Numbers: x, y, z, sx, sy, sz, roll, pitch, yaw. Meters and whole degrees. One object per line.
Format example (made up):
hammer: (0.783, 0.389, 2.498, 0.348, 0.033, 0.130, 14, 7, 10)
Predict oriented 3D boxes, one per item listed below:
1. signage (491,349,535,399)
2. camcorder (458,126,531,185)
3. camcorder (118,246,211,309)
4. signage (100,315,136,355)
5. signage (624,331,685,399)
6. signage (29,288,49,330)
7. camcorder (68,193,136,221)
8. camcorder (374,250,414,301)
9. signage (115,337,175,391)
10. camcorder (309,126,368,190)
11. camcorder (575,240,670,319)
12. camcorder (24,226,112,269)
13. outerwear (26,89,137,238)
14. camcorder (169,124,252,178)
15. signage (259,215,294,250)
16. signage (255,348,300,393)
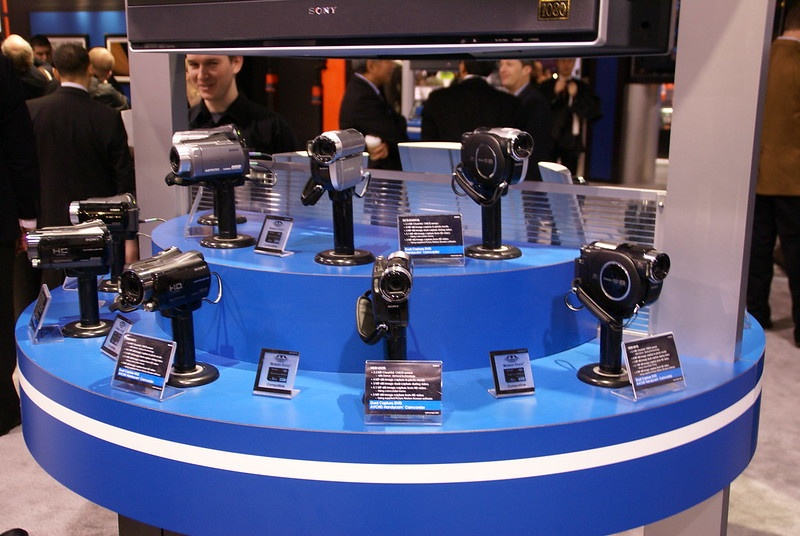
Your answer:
signage: (0.344, 0.327, 2.061, 0.124, 0.124, 0.080, -6, 10, -9)
camcorder: (0.338, -0.386, 2.254, 0.168, 0.176, 0.230, -14, 20, -42)
camcorder: (-0.722, 0.010, 2.106, 0.169, 0.168, 0.236, 3, 12, 42)
signage: (-0.971, 0.233, 2.302, 0.100, 0.139, 0.014, 24, -3, 39)
signage: (0.779, 0.291, 2.077, 0.177, 0.152, 0.061, -10, 5, -12)
signage: (-1.416, 0.160, 2.624, 0.011, 0.146, 0.112, 16, 16, -27)
camcorder: (-1.169, -0.251, 2.638, 0.213, 0.085, 0.125, -6, 16, -1)
camcorder: (-0.026, 0.019, 2.015, 0.112, 0.122, 0.169, -2, 16, -3)
signage: (-0.807, 0.296, 2.078, 0.022, 0.177, 0.232, 4, -14, 23)
camcorder: (-0.189, -0.355, 2.208, 0.146, 0.220, 0.220, 3, 17, 24)
camcorder: (0.719, -0.002, 2.143, 0.250, 0.240, 0.246, 20, 23, 34)
camcorder: (-1.194, -0.087, 2.447, 0.252, 0.176, 0.152, 0, 28, -9)
outerwear: (-1.923, -0.747, 3.916, 0.592, 0.823, 0.291, -2, 56, -29)
camcorder: (-0.684, -0.395, 2.405, 0.233, 0.092, 0.235, -4, 24, -20)
signage: (-0.437, -0.124, 2.369, 0.118, 0.119, 0.012, 13, -11, 28)
signage: (-0.377, 0.318, 2.065, 0.114, 0.111, 0.063, 9, 5, 10)
